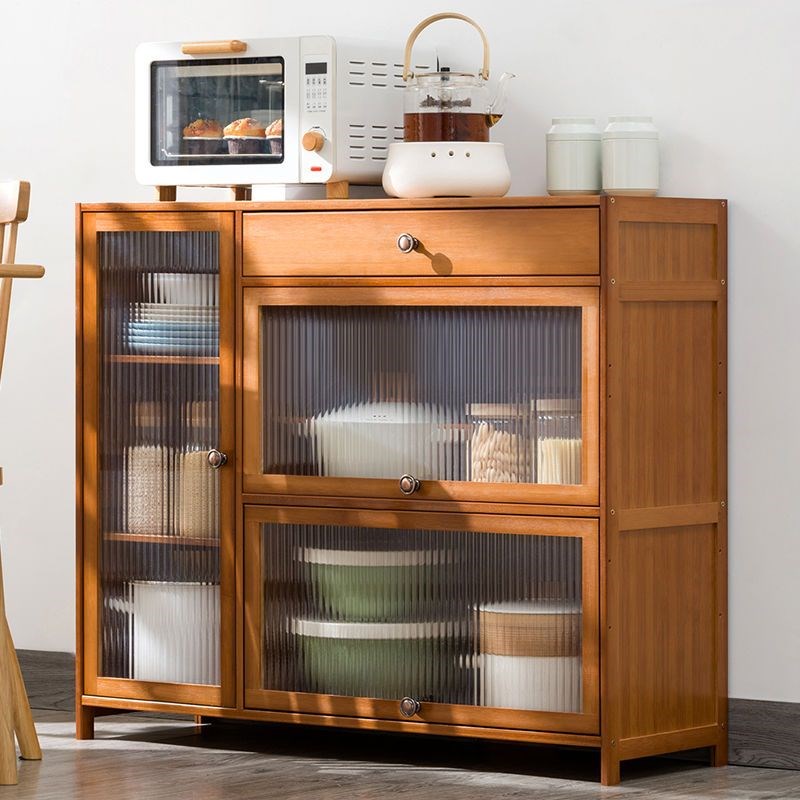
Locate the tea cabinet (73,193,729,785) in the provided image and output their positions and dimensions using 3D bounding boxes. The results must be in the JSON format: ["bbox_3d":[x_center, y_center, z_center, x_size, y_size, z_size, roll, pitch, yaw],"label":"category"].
[{"bbox_3d":[0.049,0.176,2.227,1.221,1.101,0.487,0,-1,31],"label":"tea cabinet"}]

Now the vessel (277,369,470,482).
[{"bbox_3d":[-0.028,0.051,2.225,0.297,0.155,0.201,2,3,45],"label":"vessel"}]

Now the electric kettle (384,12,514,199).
[{"bbox_3d":[0.104,-0.639,2.310,0.267,0.399,0.266,4,10,26],"label":"electric kettle"}]

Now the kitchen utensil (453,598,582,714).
[{"bbox_3d":[0.246,0.514,2.177,0.230,0.207,0.187,-1,-2,21],"label":"kitchen utensil"}]

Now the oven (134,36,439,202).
[{"bbox_3d":[-0.318,-0.631,2.360,0.564,0.371,0.363,2,2,35],"label":"oven"}]

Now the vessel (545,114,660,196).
[{"bbox_3d":[0.425,-0.536,2.342,0.240,0.167,0.141,6,11,35],"label":"vessel"}]

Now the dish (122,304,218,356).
[{"bbox_3d":[-0.513,-0.157,2.312,0.217,0.113,0.105,3,2,6],"label":"dish"}]

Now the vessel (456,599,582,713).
[{"bbox_3d":[0.249,0.519,2.167,0.229,0.175,0.189,-1,-3,11],"label":"vessel"}]

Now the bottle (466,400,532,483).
[{"bbox_3d":[0.199,0.098,2.205,0.125,0.176,0.105,-7,-12,29],"label":"bottle"}]

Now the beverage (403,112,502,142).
[{"bbox_3d":[0.104,-0.587,2.272,0.126,0.043,0.095,3,7,19],"label":"beverage"}]

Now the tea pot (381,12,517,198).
[{"bbox_3d":[0.103,-0.643,2.317,0.278,0.409,0.273,0,9,0],"label":"tea pot"}]

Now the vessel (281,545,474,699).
[{"bbox_3d":[-0.024,0.470,2.367,0.289,0.258,0.341,0,-1,6],"label":"vessel"}]
